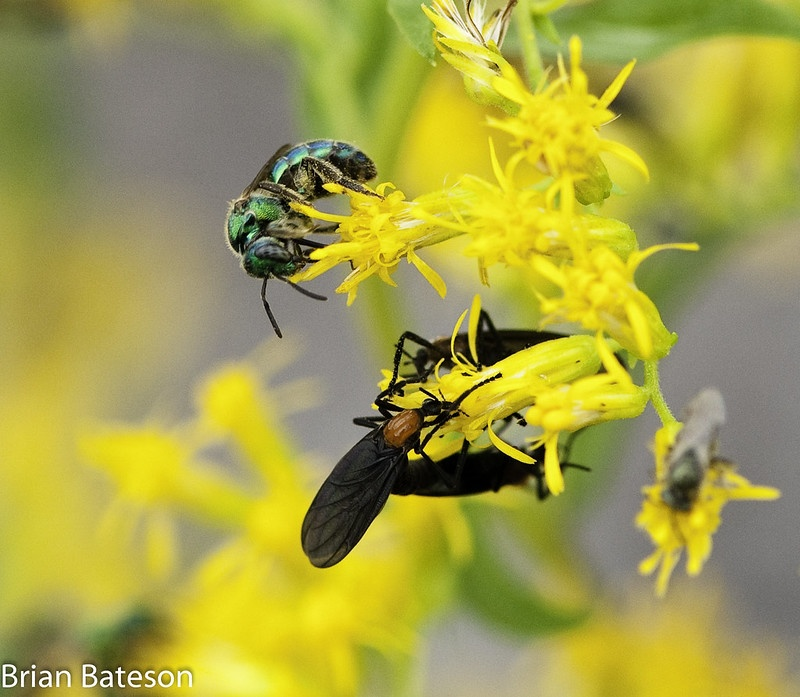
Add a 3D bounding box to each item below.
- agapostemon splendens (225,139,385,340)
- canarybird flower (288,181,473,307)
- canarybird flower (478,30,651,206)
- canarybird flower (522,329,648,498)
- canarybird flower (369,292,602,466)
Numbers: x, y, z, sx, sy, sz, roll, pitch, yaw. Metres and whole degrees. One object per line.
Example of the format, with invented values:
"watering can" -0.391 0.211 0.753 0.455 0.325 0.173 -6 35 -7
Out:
"agapostemon splendens" -0.419 -0.497 3.527 0.549 0.914 0.622 -3 4 -16
"canarybird flower" -0.036 -0.368 3.163 0.536 0.512 0.247 -30 50 2
"canarybird flower" 0.514 -0.612 2.918 0.544 0.658 0.409 0 17 7
"canarybird flower" 0.429 0.160 2.939 0.449 0.455 0.227 -45 51 4
"canarybird flower" 0.280 0.215 3.523 0.574 0.370 0.708 -4 12 34
